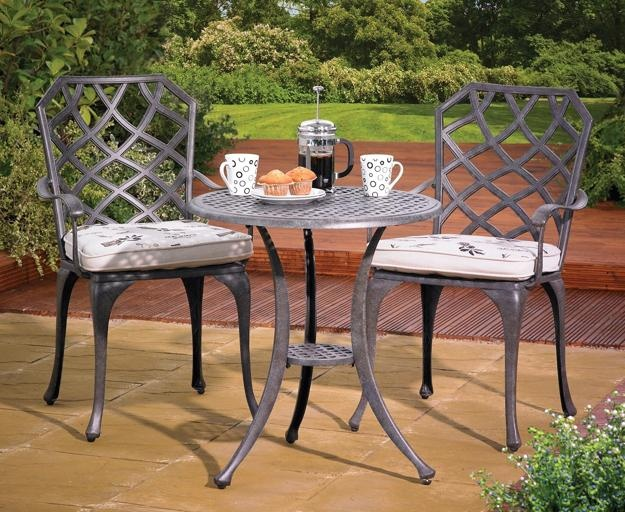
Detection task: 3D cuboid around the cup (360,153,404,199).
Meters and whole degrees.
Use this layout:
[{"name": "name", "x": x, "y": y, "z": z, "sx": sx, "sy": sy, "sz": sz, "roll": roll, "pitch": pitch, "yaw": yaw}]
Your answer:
[{"name": "cup", "x": 0.231, "y": -0.278, "z": 2.143, "sx": 0.210, "sy": 0.113, "sz": 0.136, "roll": -6, "pitch": 6, "yaw": -16}]

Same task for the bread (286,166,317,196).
[{"name": "bread", "x": -0.012, "y": -0.249, "z": 2.001, "sx": 0.132, "sy": 0.084, "sz": 0.105, "roll": -2, "pitch": 7, "yaw": 4}]

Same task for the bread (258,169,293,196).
[{"name": "bread", "x": -0.109, "y": -0.243, "z": 1.988, "sx": 0.130, "sy": 0.064, "sz": 0.103, "roll": -1, "pitch": 7, "yaw": 0}]

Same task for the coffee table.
[{"name": "coffee table", "x": 0.029, "y": 0.180, "z": 2.195, "sx": 1.234, "sy": 0.867, "sz": 0.984, "roll": 1, "pitch": 8, "yaw": 13}]
